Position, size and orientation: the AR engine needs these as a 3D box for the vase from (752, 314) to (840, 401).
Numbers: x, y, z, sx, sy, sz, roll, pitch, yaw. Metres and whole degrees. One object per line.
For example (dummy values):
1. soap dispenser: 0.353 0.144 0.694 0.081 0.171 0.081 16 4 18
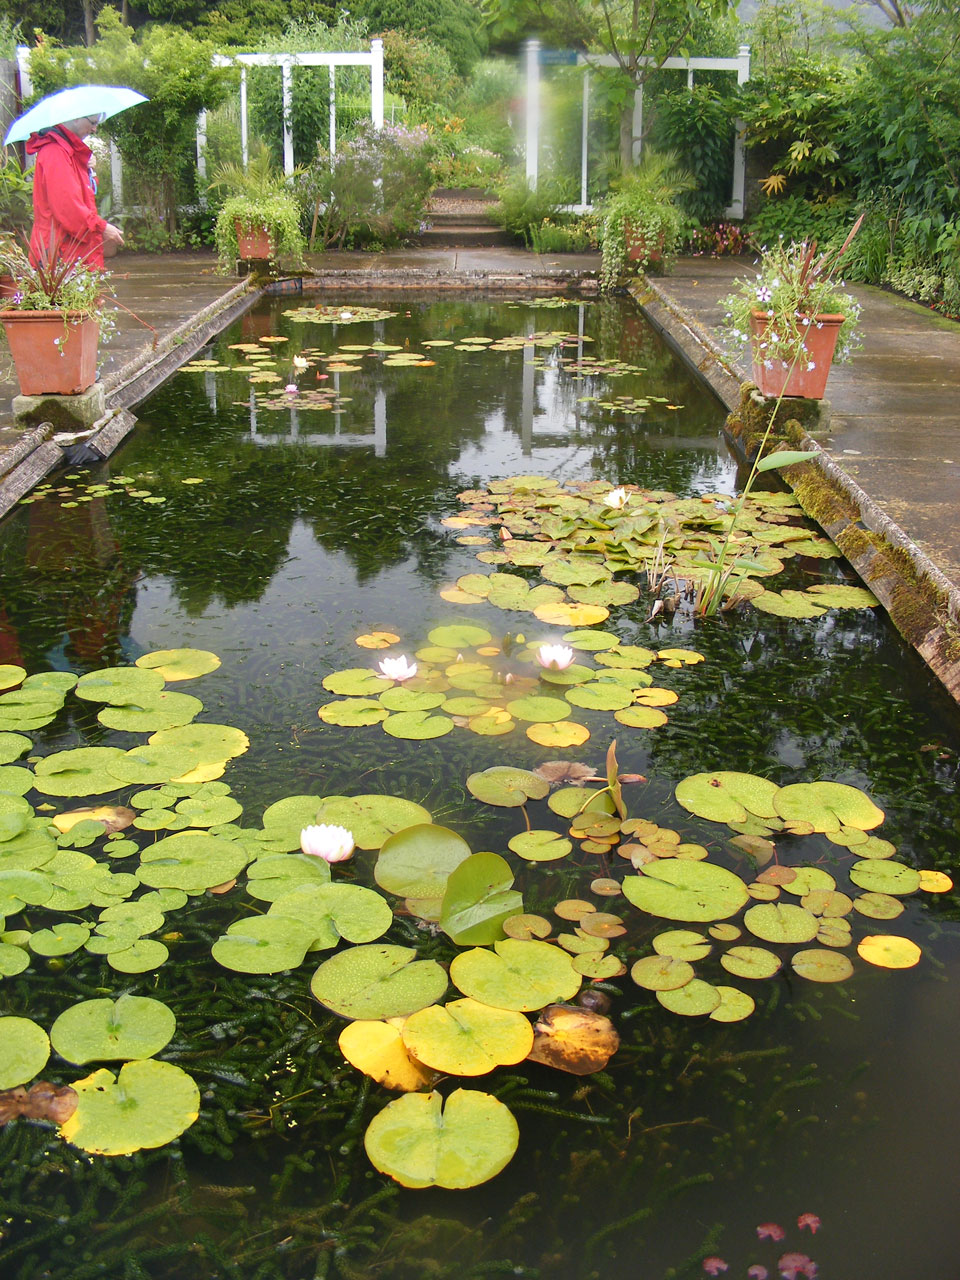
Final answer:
1. vase: 1.505 -1.328 4.921 0.490 0.382 0.390 4 12 15

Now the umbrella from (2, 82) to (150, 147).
1. umbrella: -2.067 -2.716 5.300 0.646 0.366 0.504 -4 17 -16

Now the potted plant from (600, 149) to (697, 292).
1. potted plant: 1.752 -4.434 10.992 0.843 1.398 1.812 3 17 10
